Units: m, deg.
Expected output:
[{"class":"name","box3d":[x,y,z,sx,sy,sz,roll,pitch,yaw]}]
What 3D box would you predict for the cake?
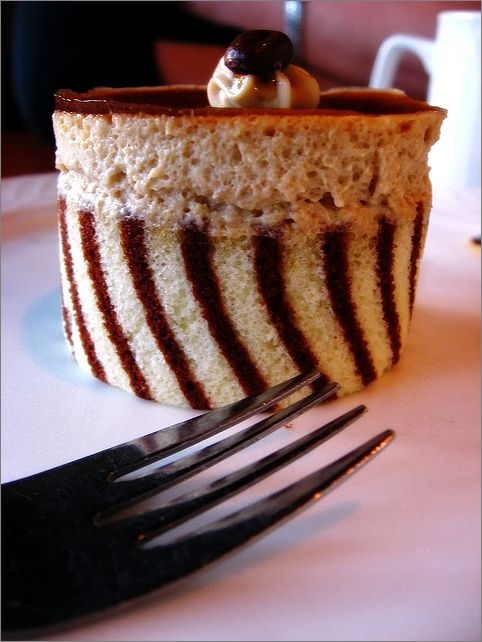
[{"class":"cake","box3d":[-0.026,-0.126,0.808,0.450,0.237,0.376,-2,21,-9]}]
